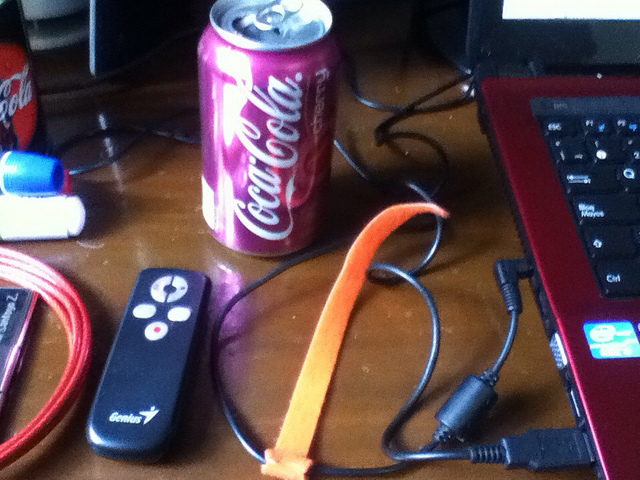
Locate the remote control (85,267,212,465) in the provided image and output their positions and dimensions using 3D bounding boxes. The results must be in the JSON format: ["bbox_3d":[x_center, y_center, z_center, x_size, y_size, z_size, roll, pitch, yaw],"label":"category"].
[{"bbox_3d":[-0.138,0.099,0.607,0.073,0.027,0.173,5,50,2],"label":"remote control"}]

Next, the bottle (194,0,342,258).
[{"bbox_3d":[-0.044,-0.090,0.632,0.120,0.208,0.102,3,46,0],"label":"bottle"}]
